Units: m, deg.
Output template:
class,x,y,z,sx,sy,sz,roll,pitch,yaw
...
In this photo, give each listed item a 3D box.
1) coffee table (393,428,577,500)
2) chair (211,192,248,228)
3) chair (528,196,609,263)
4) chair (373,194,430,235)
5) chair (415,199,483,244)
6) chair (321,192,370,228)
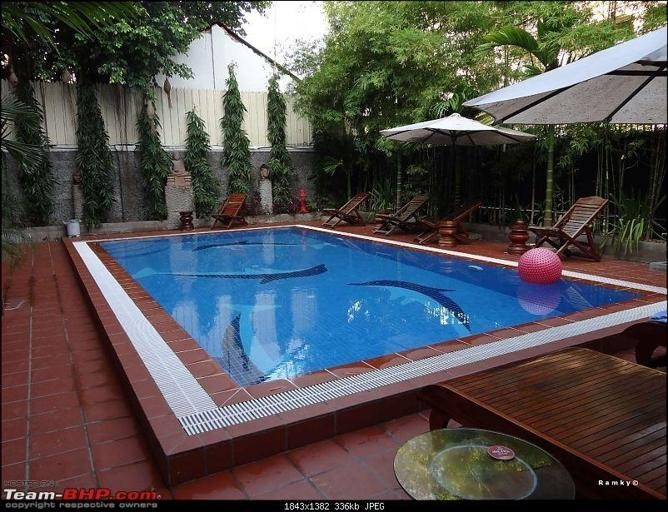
class,x,y,z,sx,sy,sz,roll,pitch,yaw
coffee table,0.569,0.832,1.689,0.657,0.092,0.462,-6,2,-5
chair,-3.123,-1.426,12.942,0.843,1.195,1.348,3,9,26
chair,3.985,-0.444,7.338,1.419,1.331,1.051,1,5,-11
chair,1.631,-1.003,10.574,0.663,0.740,1.120,17,-9,-41
chair,2.474,-0.709,9.189,1.427,0.892,0.790,0,0,5
chair,0.349,-1.386,12.454,1.407,0.983,0.742,-5,9,-21
